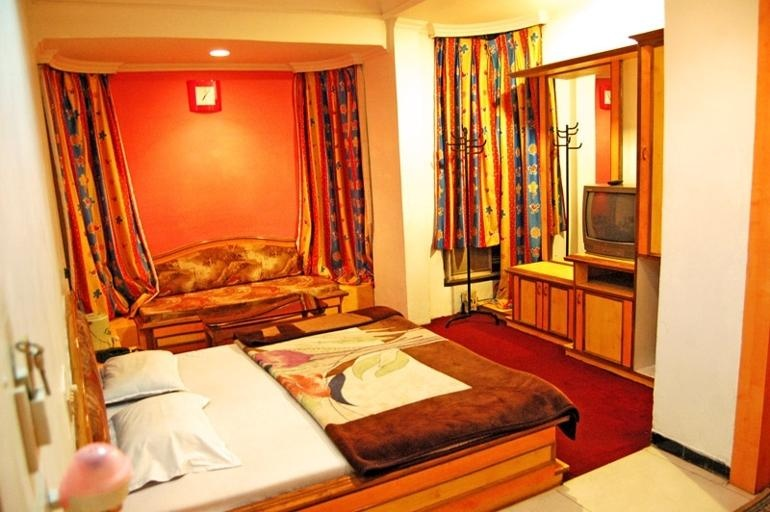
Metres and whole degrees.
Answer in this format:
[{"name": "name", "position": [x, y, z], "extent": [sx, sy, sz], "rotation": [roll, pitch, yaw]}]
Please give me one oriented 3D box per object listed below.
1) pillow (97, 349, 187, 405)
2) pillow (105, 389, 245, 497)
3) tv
[{"name": "pillow", "position": [-1.500, 0.747, 3.460], "extent": [0.353, 0.110, 0.367], "rotation": [-7, 24, -29]}, {"name": "pillow", "position": [-1.158, 0.932, 3.004], "extent": [0.569, 0.144, 0.595], "rotation": [-6, 28, -32]}, {"name": "tv", "position": [2.026, -0.290, 4.701], "extent": [0.401, 0.600, 0.638], "rotation": [-10, 12, -23]}]
